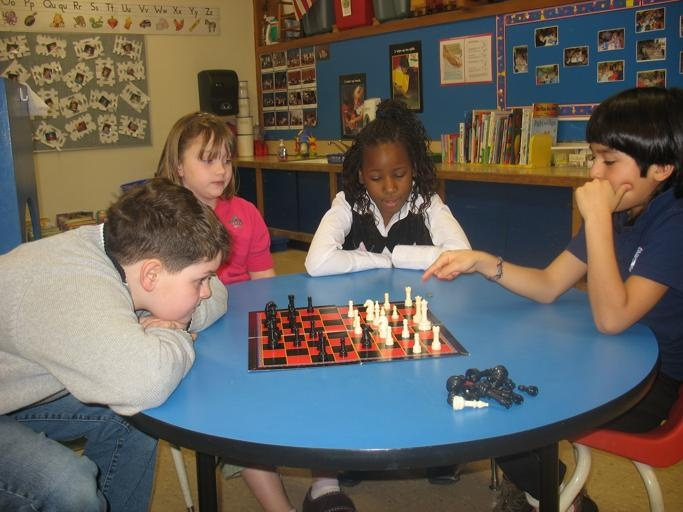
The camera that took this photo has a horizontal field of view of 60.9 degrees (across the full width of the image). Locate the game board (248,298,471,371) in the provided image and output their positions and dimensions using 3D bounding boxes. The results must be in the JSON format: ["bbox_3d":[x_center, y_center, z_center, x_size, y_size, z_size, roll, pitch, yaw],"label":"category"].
[{"bbox_3d":[0.009,0.181,1.650,0.654,0.132,0.467,-3,8,-10],"label":"game board"}]

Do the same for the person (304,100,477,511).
[{"bbox_3d":[0.187,0.189,2.595,0.696,1.635,0.758,-1,9,2],"label":"person"}]

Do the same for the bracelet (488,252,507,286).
[{"bbox_3d":[0.523,0.036,1.930,0.048,0.075,0.075,7,51,12],"label":"bracelet"}]

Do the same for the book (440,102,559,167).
[{"bbox_3d":[1.093,-0.808,3.962,0.348,0.459,0.866,-7,13,-35],"label":"book"}]
